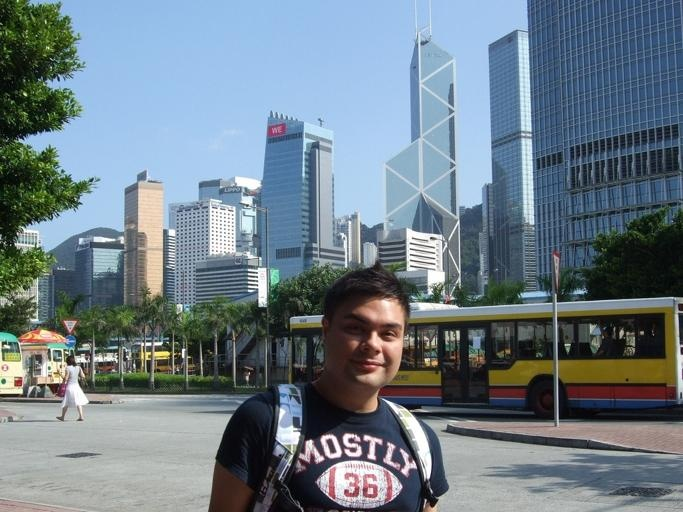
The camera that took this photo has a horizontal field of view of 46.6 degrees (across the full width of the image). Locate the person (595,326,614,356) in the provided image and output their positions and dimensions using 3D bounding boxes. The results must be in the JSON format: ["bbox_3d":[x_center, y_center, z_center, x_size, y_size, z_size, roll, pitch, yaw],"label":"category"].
[{"bbox_3d":[7.090,2.303,21.234,0.417,0.847,0.152,-2,-1,18],"label":"person"}]
